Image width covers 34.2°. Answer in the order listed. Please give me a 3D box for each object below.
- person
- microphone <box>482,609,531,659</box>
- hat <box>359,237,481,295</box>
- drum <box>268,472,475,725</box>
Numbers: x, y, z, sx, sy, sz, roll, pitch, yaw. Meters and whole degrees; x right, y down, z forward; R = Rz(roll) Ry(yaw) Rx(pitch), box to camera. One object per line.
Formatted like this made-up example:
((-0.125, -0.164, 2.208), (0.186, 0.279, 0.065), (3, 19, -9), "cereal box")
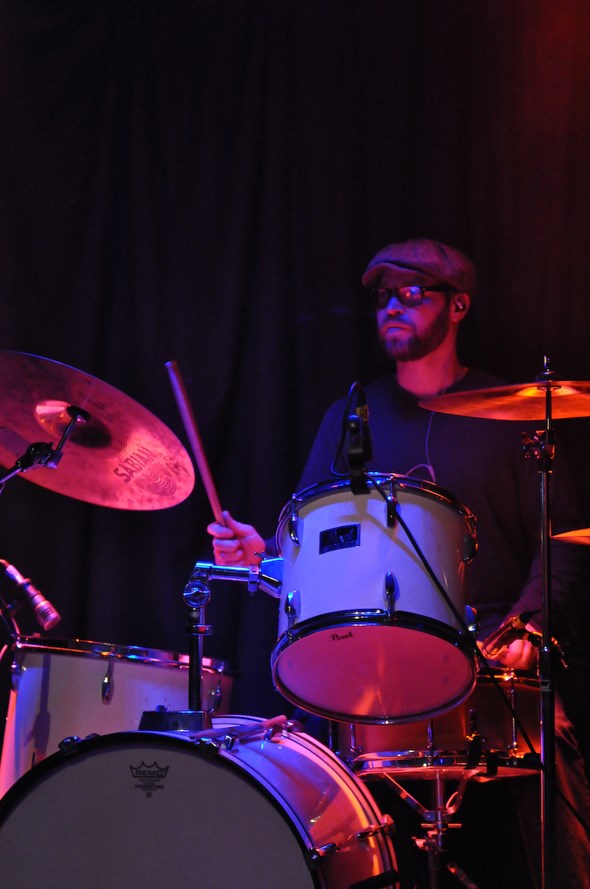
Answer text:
((0.203, 0.127, 2.875), (0.886, 1.397, 0.827), (-3, -6, 35), "person")
((0.395, 0.358, 1.792), (0.040, 0.035, 0.136), (36, -64, -3), "microphone")
((0.327, -0.471, 2.586), (0.291, 0.166, 0.442), (2, 1, 2), "hat")
((0.139, 0.205, 1.635), (0.331, 0.292, 0.383), (9, -42, 3), "drum")
